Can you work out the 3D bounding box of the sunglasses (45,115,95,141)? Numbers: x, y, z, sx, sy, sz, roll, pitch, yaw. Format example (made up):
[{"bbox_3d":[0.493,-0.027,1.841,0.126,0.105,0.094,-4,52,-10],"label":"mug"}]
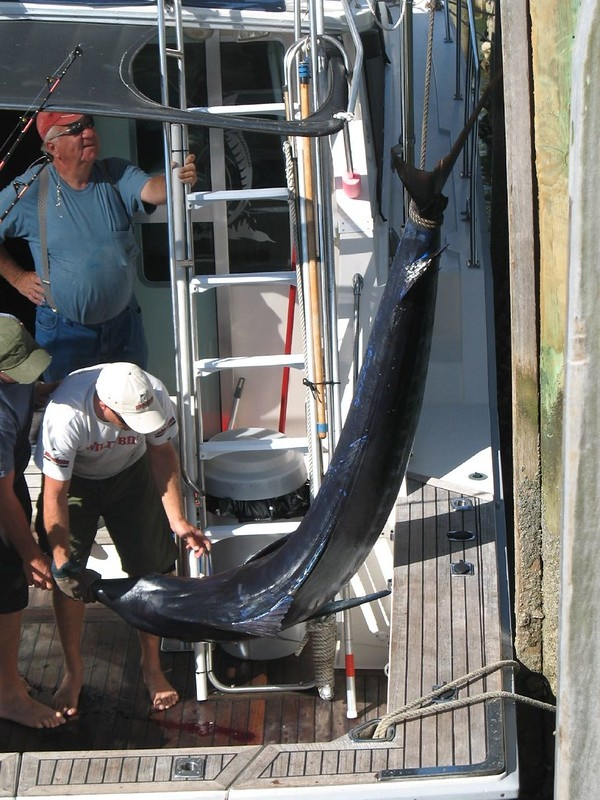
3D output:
[{"bbox_3d":[-0.875,-1.025,4.822,0.111,0.034,0.110,-1,37,42],"label":"sunglasses"}]

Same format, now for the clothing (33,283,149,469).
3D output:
[{"bbox_3d":[-0.855,-0.175,5.223,0.476,0.300,0.660,-6,35,-5],"label":"clothing"}]

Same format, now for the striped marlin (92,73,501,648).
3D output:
[{"bbox_3d":[0.043,0.120,3.970,0.925,1.996,0.521,11,4,15],"label":"striped marlin"}]

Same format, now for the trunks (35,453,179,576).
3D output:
[{"bbox_3d":[-0.769,0.413,4.925,0.578,0.635,0.232,-4,34,-13],"label":"trunks"}]

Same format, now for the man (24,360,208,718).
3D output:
[{"bbox_3d":[-0.648,0.523,4.796,0.582,1.566,0.882,2,34,-5],"label":"man"}]
